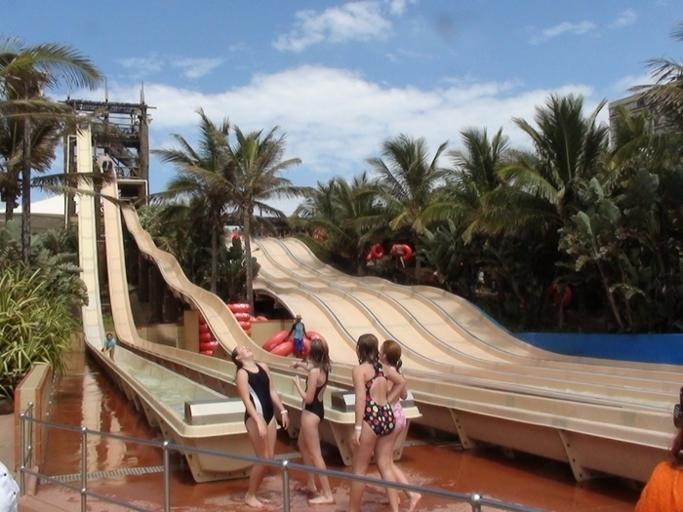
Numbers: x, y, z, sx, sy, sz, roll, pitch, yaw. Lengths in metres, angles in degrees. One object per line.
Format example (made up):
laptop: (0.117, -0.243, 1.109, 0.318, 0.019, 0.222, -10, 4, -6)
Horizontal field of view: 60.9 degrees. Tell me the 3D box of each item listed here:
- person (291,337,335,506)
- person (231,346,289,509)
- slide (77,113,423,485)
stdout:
person: (-0.297, 1.721, 6.354, 0.418, 1.552, 0.384, 3, -1, -16)
person: (-0.927, 1.816, 6.515, 0.606, 1.776, 0.515, 2, 0, -44)
slide: (1.180, 0.398, 24.073, 2.487, 8.427, 18.986, 2, -7, -32)
